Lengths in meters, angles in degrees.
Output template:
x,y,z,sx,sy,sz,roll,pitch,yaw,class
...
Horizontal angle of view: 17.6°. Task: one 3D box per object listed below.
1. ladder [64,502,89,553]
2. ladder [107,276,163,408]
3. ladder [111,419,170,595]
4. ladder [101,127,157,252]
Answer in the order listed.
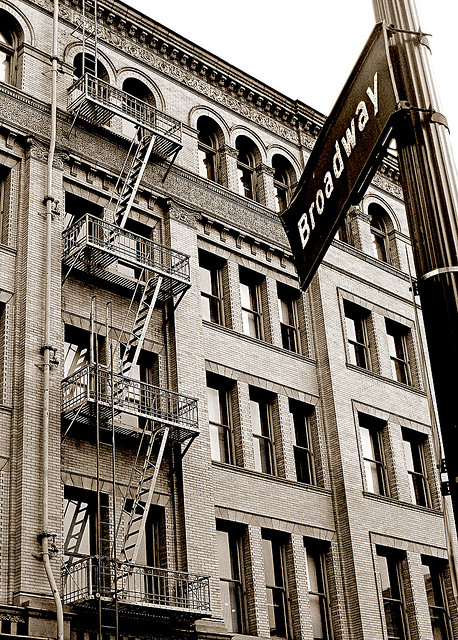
x,y,z,sx,sy,sz,roll,pitch,yaw,class
-3.245,4.421,31.223,0.113,1.231,0.707,-26,-37,33,ladder
-2.242,0.566,34.380,0.196,4.198,0.699,-17,-45,41,ladder
-1.860,3.843,32.181,0.776,4.061,0.507,8,-18,-35,ladder
-2.433,-3.431,36.469,1.113,3.647,1.321,11,-33,-22,ladder
